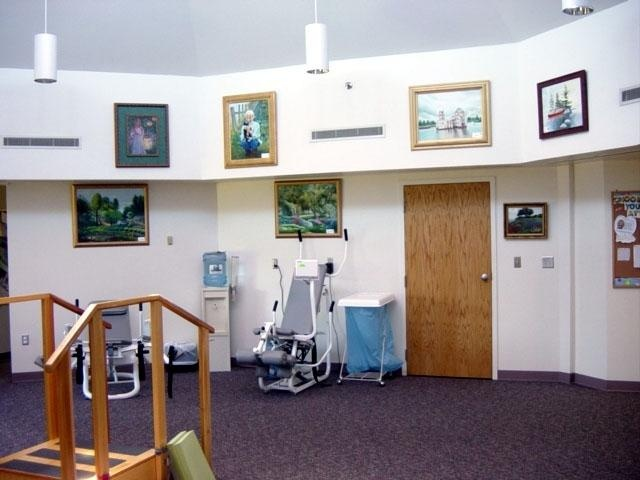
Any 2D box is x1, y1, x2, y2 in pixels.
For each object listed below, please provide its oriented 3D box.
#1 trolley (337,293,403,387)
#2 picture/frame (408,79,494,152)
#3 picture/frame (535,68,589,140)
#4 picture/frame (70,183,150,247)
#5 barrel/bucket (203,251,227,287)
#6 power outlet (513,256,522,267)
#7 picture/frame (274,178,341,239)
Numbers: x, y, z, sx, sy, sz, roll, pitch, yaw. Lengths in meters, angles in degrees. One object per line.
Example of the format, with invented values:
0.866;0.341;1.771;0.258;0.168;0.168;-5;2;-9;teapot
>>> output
0.662;1.310;7.427;0.996;1.389;1.003;-2;-6;13;trolley
1.662;-1.571;6.697;0.753;0.735;0.063;0;4;17;picture/frame
2.757;-1.557;6.110;0.036;0.991;0.739;-4;5;-39;picture/frame
-3.104;-0.398;7.869;0.767;0.783;0.058;0;9;-6;picture/frame
-1.567;0.425;8.018;0.369;0.494;0.309;-2;6;-6;barrel/bucket
2.633;0.278;7.203;0.114;0.232;0.022;-1;-2;12;power outlet
-0.144;-0.495;7.811;0.690;0.695;0.035;2;8;19;picture/frame
